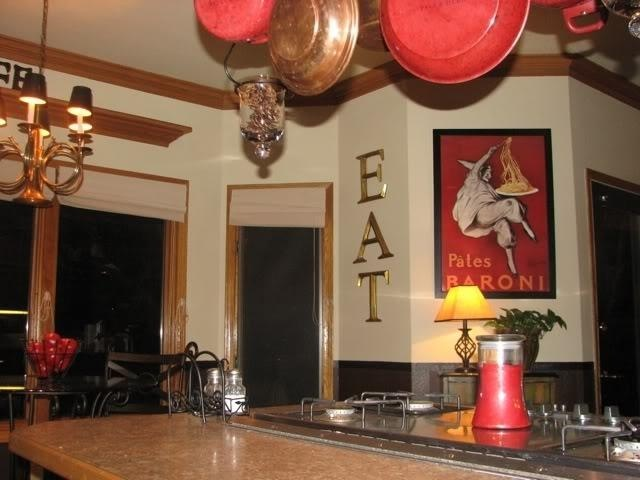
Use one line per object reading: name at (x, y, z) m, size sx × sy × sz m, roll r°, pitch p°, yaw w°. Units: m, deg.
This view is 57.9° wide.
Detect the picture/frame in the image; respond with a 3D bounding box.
picture/frame at (1.280, -0.201, 4.281) m, size 0.881 × 1.291 × 0.335 m, roll -3°, pitch -1°, yaw 13°
